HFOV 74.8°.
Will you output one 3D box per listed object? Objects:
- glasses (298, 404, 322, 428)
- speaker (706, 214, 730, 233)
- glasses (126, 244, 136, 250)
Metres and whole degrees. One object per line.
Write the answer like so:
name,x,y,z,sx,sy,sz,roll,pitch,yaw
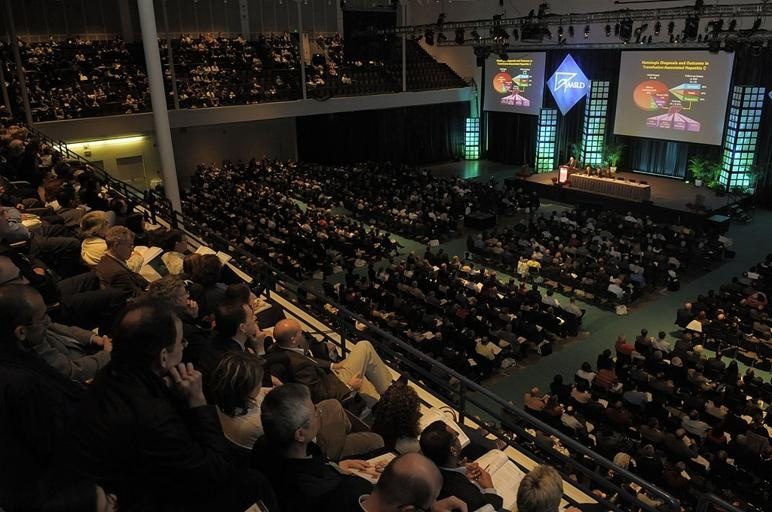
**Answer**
glasses,-0.579,1.275,3.965,0.210,0.064,0.202,-13,11,2
speaker,13.032,-1.245,19.864,0.734,0.755,0.805,2,22,36
glasses,-3.217,-0.107,6.347,0.096,0.029,0.094,-12,20,-37
